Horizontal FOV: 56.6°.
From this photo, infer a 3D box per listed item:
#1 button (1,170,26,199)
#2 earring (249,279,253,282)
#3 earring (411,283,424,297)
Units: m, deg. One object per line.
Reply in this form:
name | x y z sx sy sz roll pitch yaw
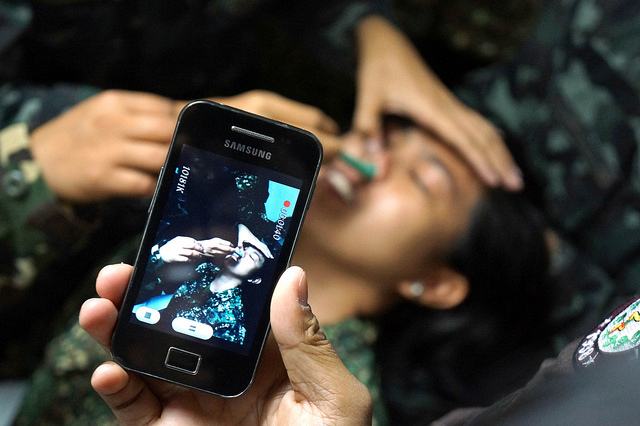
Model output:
button | -0.671 -0.065 1.307 0.056 0.023 0.058 11 71 1
earring | -0.135 0.129 1.158 0.004 0.001 0.008 -3 94 1
earring | 0.198 0.154 1.218 0.023 0.012 0.025 4 71 -2
